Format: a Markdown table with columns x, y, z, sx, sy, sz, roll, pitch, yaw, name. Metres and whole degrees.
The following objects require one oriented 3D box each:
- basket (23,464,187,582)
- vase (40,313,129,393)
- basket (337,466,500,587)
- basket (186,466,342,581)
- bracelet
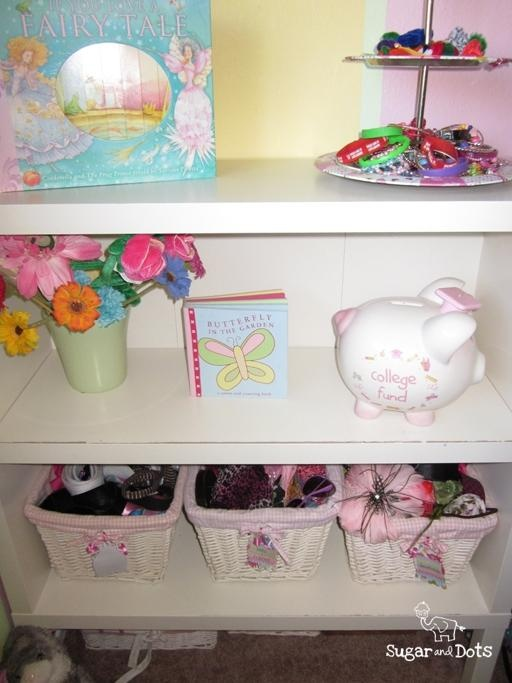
| x | y | z | sx | sy | sz | roll | pitch | yaw | name |
| --- | --- | --- | --- | --- | --- | --- | --- | --- | --- |
| -0.296 | 0.372 | 1.086 | 0.272 | 0.137 | 0.206 | 1 | 23 | -3 | basket |
| -0.295 | 0.011 | 0.980 | 0.153 | 0.140 | 0.139 | -3 | 14 | -10 | vase |
| 0.285 | 0.354 | 1.052 | 0.287 | 0.189 | 0.229 | 0 | 21 | 3 | basket |
| 0.012 | 0.348 | 1.083 | 0.282 | 0.171 | 0.220 | -2 | 27 | -3 | basket |
| 0.230 | -0.259 | 0.716 | 0.217 | 0.057 | 0.146 | -9 | 34 | -13 | bracelet |
